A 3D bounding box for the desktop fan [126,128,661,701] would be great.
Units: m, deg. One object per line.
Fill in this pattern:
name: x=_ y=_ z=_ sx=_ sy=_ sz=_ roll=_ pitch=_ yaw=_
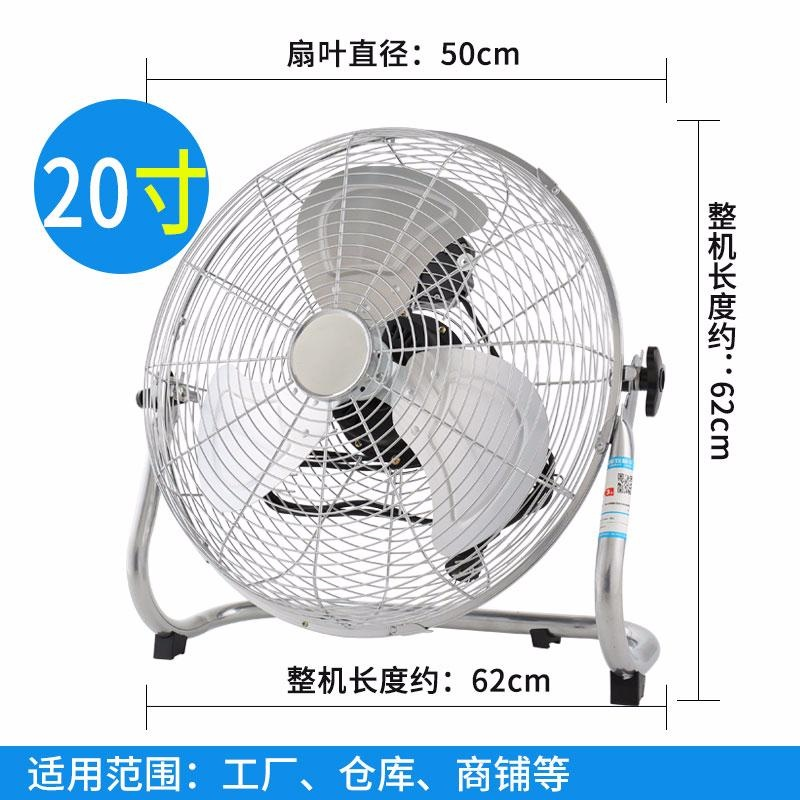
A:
desktop fan: x=-0.013 y=0.060 z=2.303 sx=1.082 sy=0.718 sz=1.206 roll=-2 pitch=-98 yaw=15
